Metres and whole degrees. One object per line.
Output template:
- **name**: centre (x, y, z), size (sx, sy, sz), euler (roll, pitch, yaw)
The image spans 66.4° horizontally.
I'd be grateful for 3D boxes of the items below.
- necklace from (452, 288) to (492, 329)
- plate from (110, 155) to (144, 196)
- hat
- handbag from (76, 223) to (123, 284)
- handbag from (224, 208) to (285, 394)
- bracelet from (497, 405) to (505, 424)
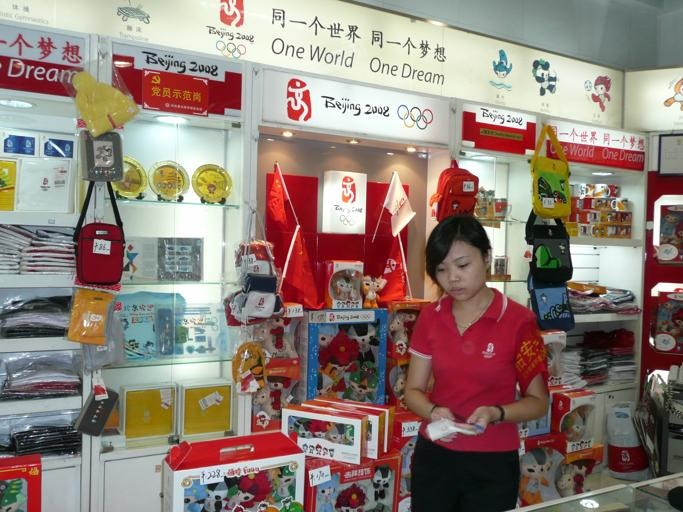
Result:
- **necklace**: centre (0.572, 0.228, 2.290), size (0.138, 0.102, 0.193), euler (34, 15, 6)
- **plate**: centre (-1.300, -0.479, 3.210), size (0.197, 0.266, 0.075), euler (0, -4, -27)
- **hat**: centre (-1.344, -0.845, 2.980), size (0.316, 0.373, 0.098), euler (-34, 3, -10)
- **handbag**: centre (-1.392, -0.011, 2.964), size (0.319, 0.443, 0.157), euler (1, -1, -30)
- **handbag**: centre (-0.558, 0.383, 3.380), size (0.376, 0.974, 0.341), euler (0, -4, -27)
- **bracelet**: centre (0.654, 0.644, 2.128), size (0.024, 0.052, 0.037), euler (4, 0, -16)
